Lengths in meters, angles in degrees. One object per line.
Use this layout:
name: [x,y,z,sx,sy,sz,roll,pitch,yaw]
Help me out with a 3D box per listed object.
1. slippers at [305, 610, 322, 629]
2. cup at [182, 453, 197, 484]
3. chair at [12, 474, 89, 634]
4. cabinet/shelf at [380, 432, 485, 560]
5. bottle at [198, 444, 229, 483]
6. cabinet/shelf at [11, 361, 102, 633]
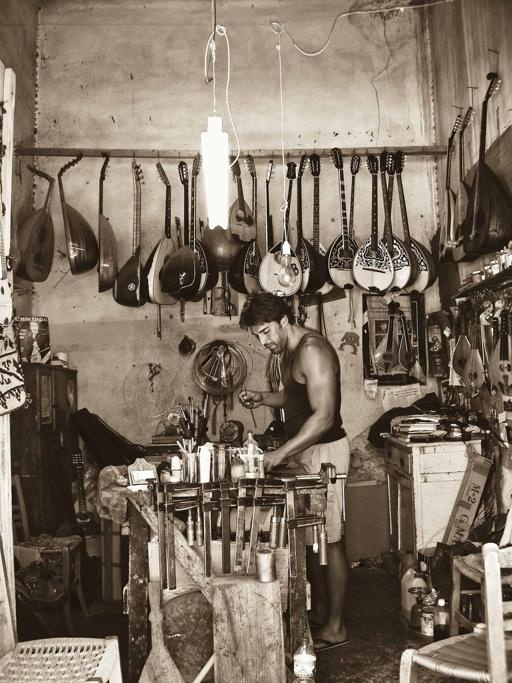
slippers: [0.287,1.374,3.983,0.047,0.046,0.108,0,-38,0]
cup: [-0.250,0.476,3.071,0.063,0.167,0.078,-1,1,-2]
chair: [-1.062,1.044,4.108,0.260,1.093,0.289,-2,0,-3]
cabinet/shelf: [0.971,0.831,4.533,0.392,1.121,0.706,0,-6,3]
bottle: [-0.163,0.455,3.053,0.090,0.163,0.114,-1,-4,7]
cabinet/shelf: [-1.170,0.900,4.864,0.195,1.626,0.274,-1,-3,-27]
